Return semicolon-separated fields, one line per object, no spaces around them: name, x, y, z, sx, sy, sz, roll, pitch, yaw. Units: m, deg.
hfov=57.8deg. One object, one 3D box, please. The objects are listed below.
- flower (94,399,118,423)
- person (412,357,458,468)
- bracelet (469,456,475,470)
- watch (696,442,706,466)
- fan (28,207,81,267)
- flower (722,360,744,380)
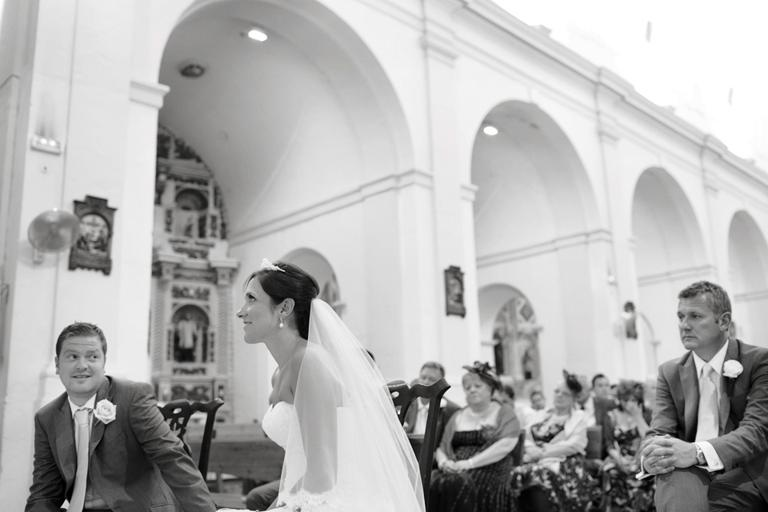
flower;-1.926;1.071;4.835;0.135;0.164;0.064;2;0;-10
person;0.506;1.635;7.183;0.709;0.935;0.643;-11;-27;29
bracelet;0.828;1.997;6.735;0.020;0.080;0.079;8;7;-6
watch;2.188;1.386;4.852;0.054;0.119;0.084;-12;-10;12
fan;-3.334;-0.195;7.043;0.479;0.512;0.322;4;-13;-27
flower;2.512;0.813;5.041;0.143;0.129;0.092;-6;-12;18
